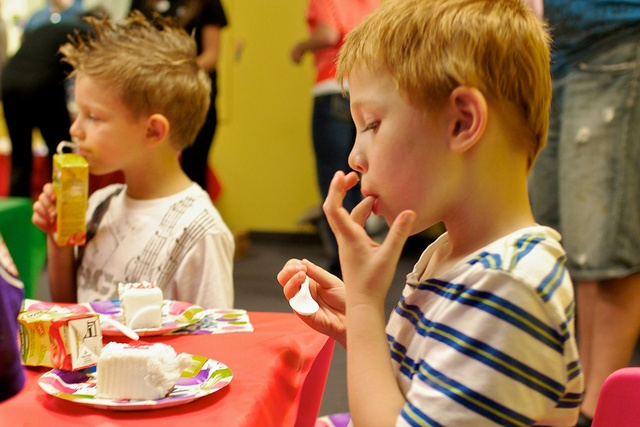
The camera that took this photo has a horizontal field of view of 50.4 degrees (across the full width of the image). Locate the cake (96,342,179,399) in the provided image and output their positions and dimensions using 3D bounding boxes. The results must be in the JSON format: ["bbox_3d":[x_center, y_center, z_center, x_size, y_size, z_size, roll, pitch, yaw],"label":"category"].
[{"bbox_3d":[-0.338,0.292,1.229,0.113,0.068,0.095,2,-2,3],"label":"cake"}]

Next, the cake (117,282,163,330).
[{"bbox_3d":[-0.387,0.200,1.472,0.086,0.091,0.089,-2,6,-10],"label":"cake"}]
